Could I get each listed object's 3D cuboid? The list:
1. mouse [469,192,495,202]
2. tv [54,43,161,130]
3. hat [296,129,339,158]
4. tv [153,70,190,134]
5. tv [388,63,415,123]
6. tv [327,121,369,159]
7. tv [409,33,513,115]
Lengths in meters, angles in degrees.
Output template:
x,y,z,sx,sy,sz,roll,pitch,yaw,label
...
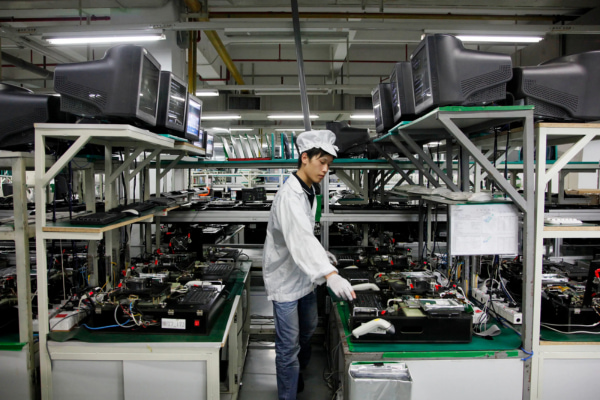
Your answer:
x,y,z,sx,sy,sz,roll,pitch,yaw,label
1.488,-0.027,4.231,0.136,0.045,0.103,1,3,-5,mouse
-1.623,-0.977,4.638,1.115,0.592,1.044,6,-2,-34,tv
0.157,-0.504,4.423,0.314,0.206,0.365,-5,8,-41,hat
-1.363,-0.962,5.081,0.340,0.515,0.590,5,1,3,tv
1.114,-1.078,5.238,0.324,0.525,0.410,-4,-6,-4,tv
0.530,-0.662,5.934,0.536,0.409,0.378,0,-11,-9,tv
1.398,-1.051,4.468,0.751,0.493,0.729,-2,2,-4,tv
